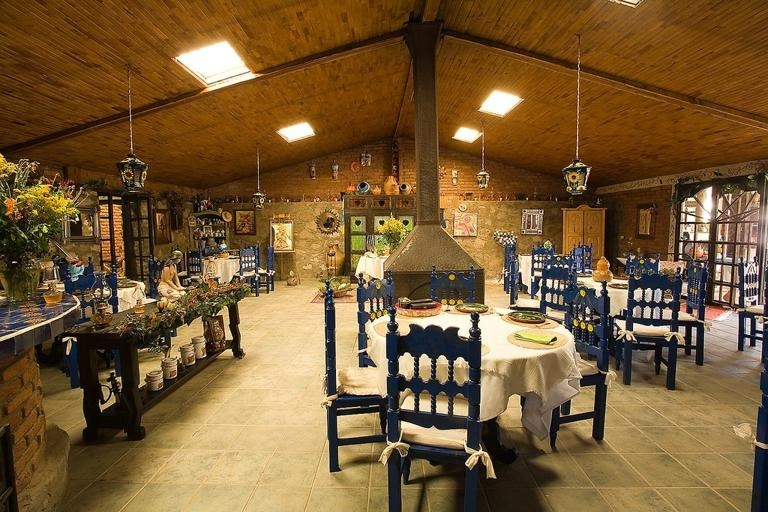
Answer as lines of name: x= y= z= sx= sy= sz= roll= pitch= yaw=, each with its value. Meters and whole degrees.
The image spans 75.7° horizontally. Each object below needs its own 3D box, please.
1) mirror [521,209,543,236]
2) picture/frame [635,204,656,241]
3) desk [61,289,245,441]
mirror: x=3.959 y=-0.884 z=13.104 sx=0.743 sy=0.767 sz=0.105 roll=1 pitch=1 yaw=-1
picture/frame: x=5.887 y=-0.773 z=11.115 sx=0.685 sy=0.725 sz=0.039 roll=-5 pitch=8 yaw=-33
desk: x=-2.737 y=1.312 z=5.809 sx=0.585 sy=0.698 sz=1.603 roll=2 pitch=6 yaw=8
